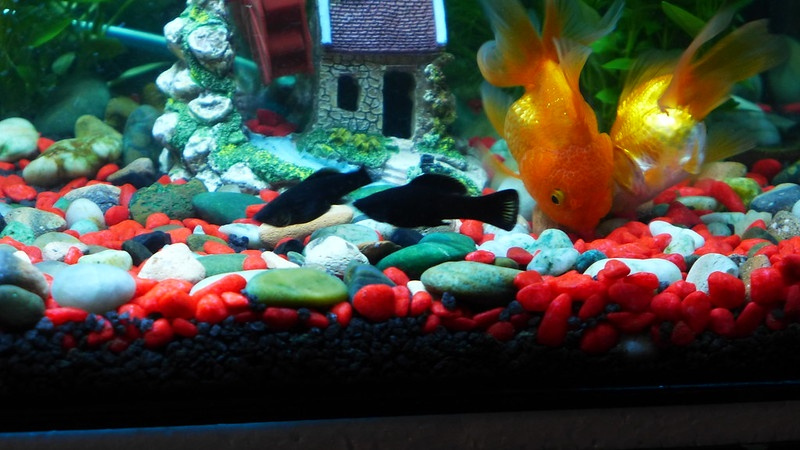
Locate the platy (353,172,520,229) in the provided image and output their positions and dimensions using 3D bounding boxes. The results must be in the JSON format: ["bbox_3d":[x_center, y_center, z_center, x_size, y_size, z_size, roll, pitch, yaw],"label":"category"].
[{"bbox_3d":[0.146,-0.099,3.118,0.727,0.241,0.099,1,19,19],"label":"platy"}]

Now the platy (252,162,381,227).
[{"bbox_3d":[-0.385,-0.134,3.149,0.593,0.198,0.104,-29,37,-33],"label":"platy"}]
